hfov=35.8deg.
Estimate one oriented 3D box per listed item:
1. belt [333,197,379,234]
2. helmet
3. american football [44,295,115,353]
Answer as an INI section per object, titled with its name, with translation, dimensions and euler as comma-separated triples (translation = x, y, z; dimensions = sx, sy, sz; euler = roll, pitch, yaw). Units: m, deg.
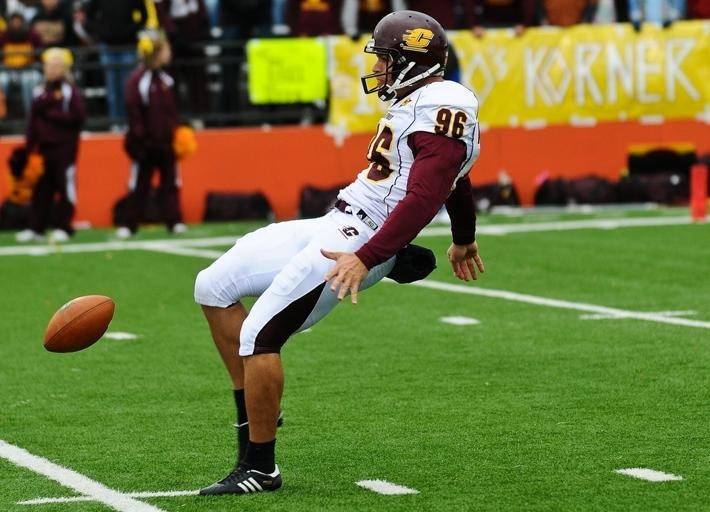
[belt]
translation = 0.003, -0.181, 4.795
dimensions = 0.164, 0.057, 0.125
euler = 35, 3, 15
[helmet]
translation = 0.239, -0.911, 4.822
dimensions = 0.374, 0.343, 0.304
euler = 1, 8, 1
[american football]
translation = -1.258, 0.308, 5.125
dimensions = 0.322, 0.195, 0.217
euler = -32, 9, 3
